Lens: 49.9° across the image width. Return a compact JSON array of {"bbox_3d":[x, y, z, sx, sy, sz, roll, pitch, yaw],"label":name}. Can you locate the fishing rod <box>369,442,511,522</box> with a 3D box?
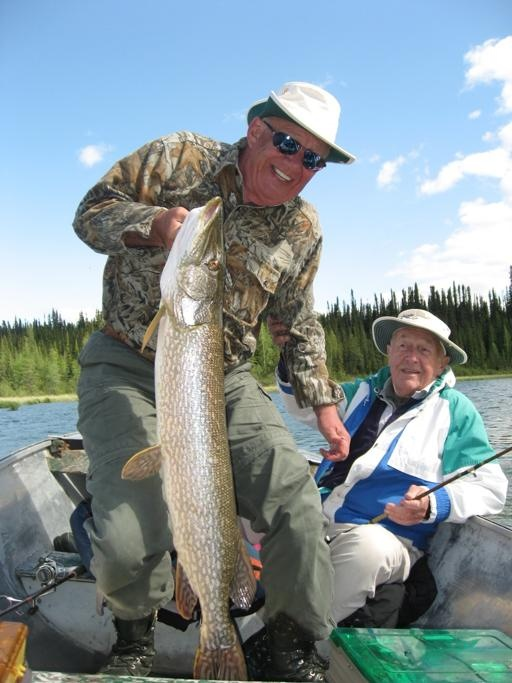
[{"bbox_3d":[1.086,0.856,3.333,1.047,0.029,0.071,-28,-22,10],"label":"fishing rod"}]

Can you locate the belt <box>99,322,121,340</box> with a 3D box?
[{"bbox_3d":[-0.762,-0.039,2.908,0.134,0.107,0.096,1,26,-18],"label":"belt"}]

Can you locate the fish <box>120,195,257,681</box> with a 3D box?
[{"bbox_3d":[-0.267,0.311,2.352,0.450,1.974,0.592,-5,-8,39],"label":"fish"}]
